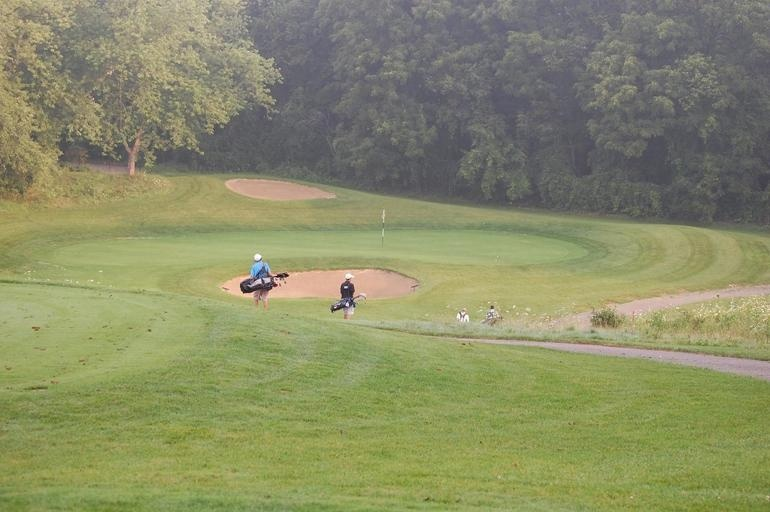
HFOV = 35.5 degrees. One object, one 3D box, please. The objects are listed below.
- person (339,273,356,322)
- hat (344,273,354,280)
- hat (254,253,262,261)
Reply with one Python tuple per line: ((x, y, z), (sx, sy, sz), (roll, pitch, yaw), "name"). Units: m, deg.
((-2.315, 2.439, 73.849), (0.883, 2.682, 1.214), (3, 6, -3), "person")
((-2.294, 1.312, 76.031), (0.454, 0.218, 0.642), (1, 2, 0), "hat")
((-8.038, 0.107, 75.700), (0.336, 0.245, 0.525), (30, -19, 4), "hat")
